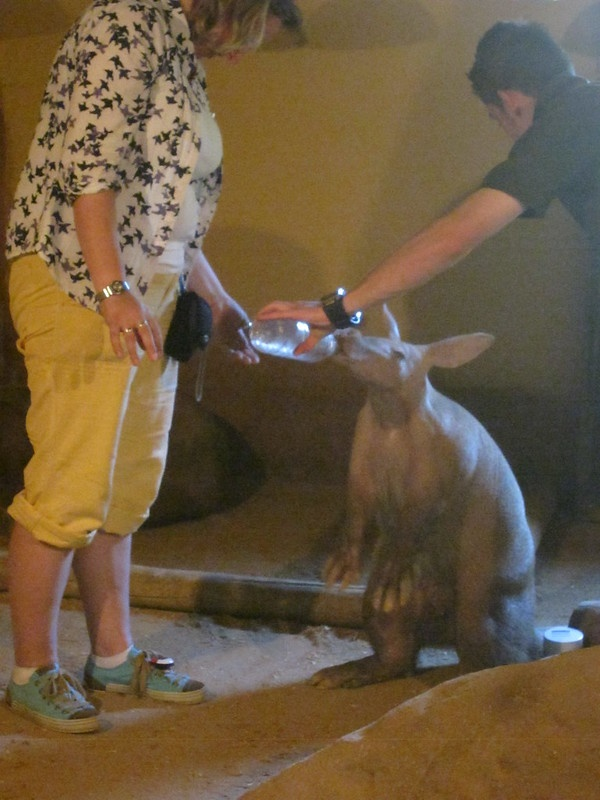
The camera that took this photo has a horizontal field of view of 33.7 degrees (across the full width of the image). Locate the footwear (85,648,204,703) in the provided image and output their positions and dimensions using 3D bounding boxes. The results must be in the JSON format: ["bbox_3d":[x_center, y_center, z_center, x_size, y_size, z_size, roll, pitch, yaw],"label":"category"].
[{"bbox_3d":[-0.318,0.573,2.065,0.290,0.080,0.093,-1,-8,22],"label":"footwear"}]

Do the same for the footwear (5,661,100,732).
[{"bbox_3d":[-0.457,0.565,1.897,0.241,0.076,0.082,8,3,25],"label":"footwear"}]

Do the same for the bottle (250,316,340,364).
[{"bbox_3d":[-0.035,-0.120,1.955,0.191,0.059,0.157,5,2,-13],"label":"bottle"}]

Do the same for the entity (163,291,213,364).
[{"bbox_3d":[-0.239,-0.147,2.039,0.111,0.130,0.060,7,4,-36],"label":"entity"}]
